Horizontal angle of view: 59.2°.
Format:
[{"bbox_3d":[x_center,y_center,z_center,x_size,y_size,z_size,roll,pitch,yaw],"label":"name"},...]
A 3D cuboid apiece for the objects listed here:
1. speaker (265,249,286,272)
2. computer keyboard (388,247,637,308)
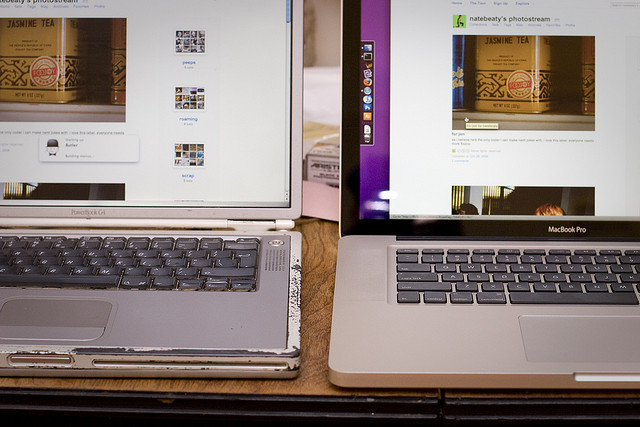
[{"bbox_3d":[-0.073,0.077,0.918,0.032,0.029,0.042,1,6,-3],"label":"speaker"},{"bbox_3d":[0.314,0.100,0.903,0.416,0.076,0.107,1,6,1],"label":"computer keyboard"}]
